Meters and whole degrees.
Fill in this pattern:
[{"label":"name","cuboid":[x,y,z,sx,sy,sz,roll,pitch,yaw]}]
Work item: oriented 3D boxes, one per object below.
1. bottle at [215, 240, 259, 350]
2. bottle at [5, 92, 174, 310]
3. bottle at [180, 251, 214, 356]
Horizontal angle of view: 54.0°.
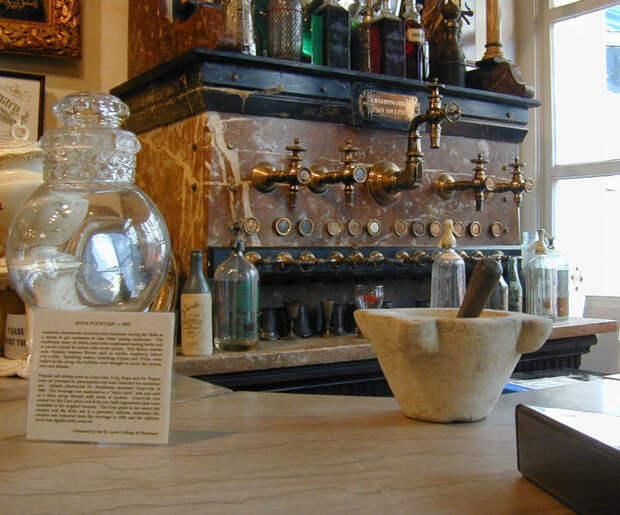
[{"label":"bottle","cuboid":[-0.228,0.116,1.874,0.135,0.332,0.087,0,2,-9]},{"label":"bottle","cuboid":[-0.297,-0.079,0.839,0.210,0.306,0.160,0,2,5]},{"label":"bottle","cuboid":[-0.332,0.132,1.778,0.090,0.300,0.122,0,2,-11]}]
